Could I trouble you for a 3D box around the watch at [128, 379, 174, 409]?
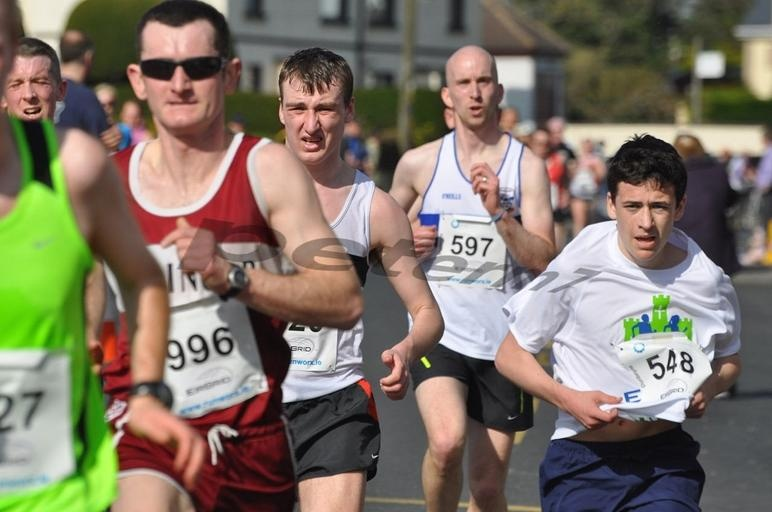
[{"bbox_3d":[-0.791,0.462,4.063,0.112,0.094,0.069,14,20,-32],"label":"watch"}]
